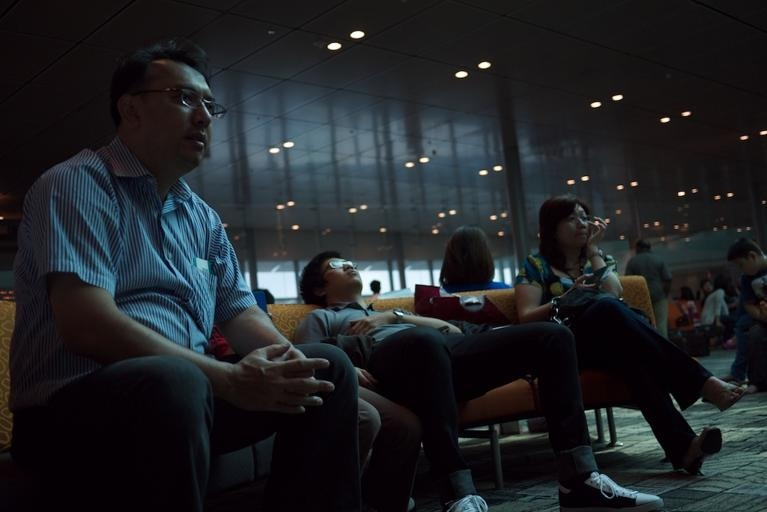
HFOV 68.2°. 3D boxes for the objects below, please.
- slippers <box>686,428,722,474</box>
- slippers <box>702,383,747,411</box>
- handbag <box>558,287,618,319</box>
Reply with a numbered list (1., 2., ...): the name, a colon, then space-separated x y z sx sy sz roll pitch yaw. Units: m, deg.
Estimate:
1. slippers: 1.521 0.915 2.673 0.100 0.240 0.096 -1 31 -29
2. slippers: 1.637 0.684 2.729 0.112 0.089 0.212 -46 4 -28
3. handbag: 1.044 0.236 2.981 0.212 0.090 0.202 -3 -3 -35
